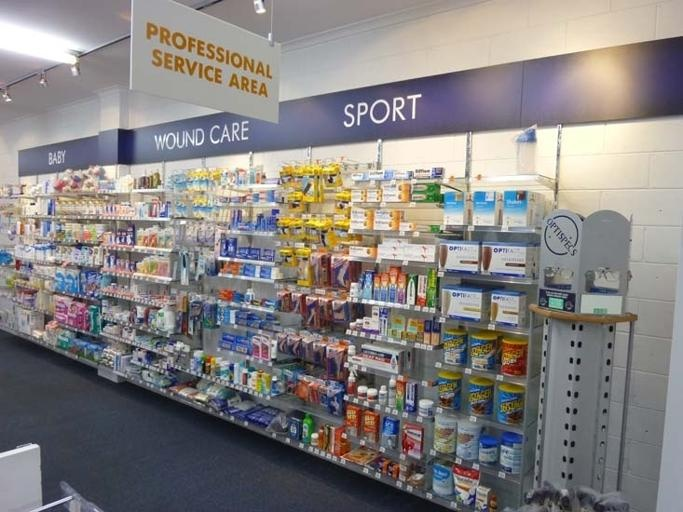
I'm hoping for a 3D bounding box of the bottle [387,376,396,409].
[{"bbox_3d":[0.508,1.335,5.327,0.084,0.314,0.113,2,11,4],"label":"bottle"}]

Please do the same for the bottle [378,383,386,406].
[{"bbox_3d":[0.422,1.385,5.366,0.091,0.178,0.098,1,11,0],"label":"bottle"}]
